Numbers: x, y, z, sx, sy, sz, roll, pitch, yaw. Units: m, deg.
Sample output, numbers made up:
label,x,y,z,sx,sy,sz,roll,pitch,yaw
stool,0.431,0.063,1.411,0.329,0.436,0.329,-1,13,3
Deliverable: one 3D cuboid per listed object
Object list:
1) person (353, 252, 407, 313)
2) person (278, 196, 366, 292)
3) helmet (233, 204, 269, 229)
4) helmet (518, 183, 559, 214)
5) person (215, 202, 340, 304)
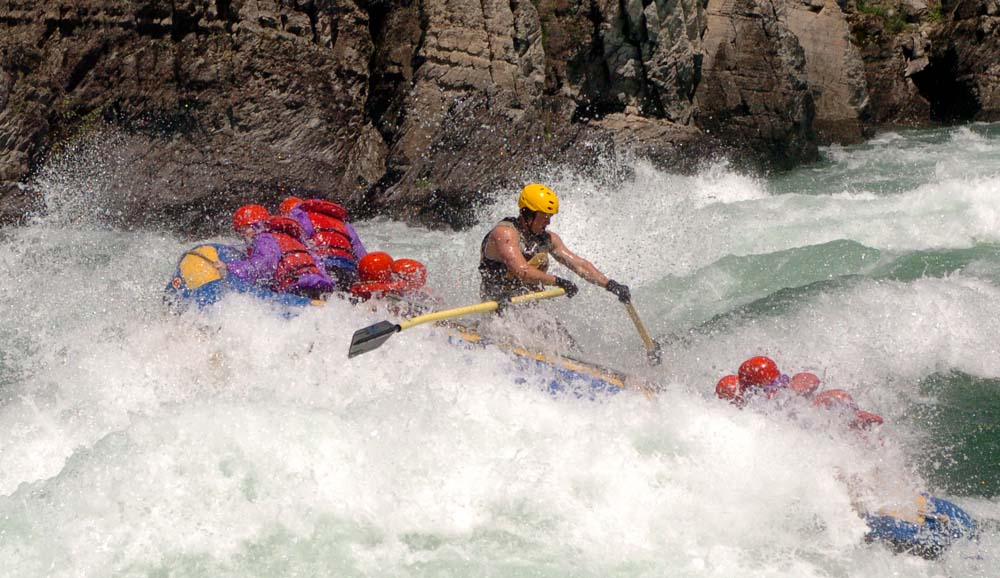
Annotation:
label,x,y,z,sx,sy,sz,roll,pitch,yaw
person,-1.958,-0.099,19.558,0.820,0.603,0.803,3,8,0
person,-2.813,-0.900,20.171,1.599,0.618,1.199,53,27,16
helmet,-4.171,-1.198,20.256,0.432,0.447,0.528,1,22,-7
helmet,0.693,-1.431,19.703,0.620,0.332,0.453,27,17,14
person,-3.629,-0.584,19.604,1.682,0.732,1.205,35,36,21
